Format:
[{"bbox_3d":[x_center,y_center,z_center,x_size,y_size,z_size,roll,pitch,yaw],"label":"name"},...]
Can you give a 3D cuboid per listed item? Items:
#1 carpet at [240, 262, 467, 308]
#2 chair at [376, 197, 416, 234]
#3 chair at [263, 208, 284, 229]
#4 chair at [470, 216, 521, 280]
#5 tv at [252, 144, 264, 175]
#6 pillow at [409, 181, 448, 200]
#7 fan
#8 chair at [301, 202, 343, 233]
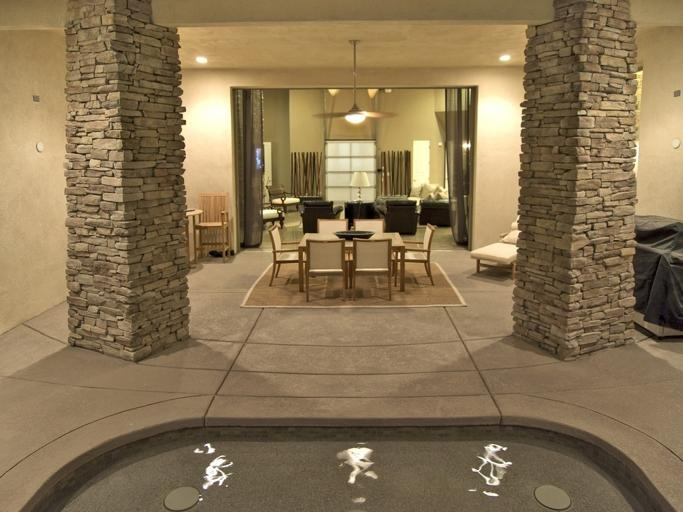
[{"bbox_3d":[0.194,0.546,7.369,3.229,0.168,1.586,-2,11,0],"label":"carpet"},{"bbox_3d":[1.356,-0.925,11.402,0.917,0.683,0.992,-1,20,-1],"label":"chair"},{"bbox_3d":[-1.616,-0.880,11.527,0.707,0.502,0.480,-3,23,-6],"label":"chair"},{"bbox_3d":[2.880,-0.100,8.379,1.328,0.779,0.736,-11,13,-40],"label":"chair"},{"bbox_3d":[-1.703,-2.008,10.081,0.091,0.623,0.255,2,14,22],"label":"tv"},{"bbox_3d":[2.491,-1.807,13.475,1.004,0.428,1.326,-2,11,2],"label":"pillow"},{"bbox_3d":[0.249,-3.011,8.248,1.482,1.376,1.377,4,14,18],"label":"fan"},{"bbox_3d":[-0.418,-0.879,10.207,0.720,0.679,0.744,3,25,8],"label":"chair"}]
